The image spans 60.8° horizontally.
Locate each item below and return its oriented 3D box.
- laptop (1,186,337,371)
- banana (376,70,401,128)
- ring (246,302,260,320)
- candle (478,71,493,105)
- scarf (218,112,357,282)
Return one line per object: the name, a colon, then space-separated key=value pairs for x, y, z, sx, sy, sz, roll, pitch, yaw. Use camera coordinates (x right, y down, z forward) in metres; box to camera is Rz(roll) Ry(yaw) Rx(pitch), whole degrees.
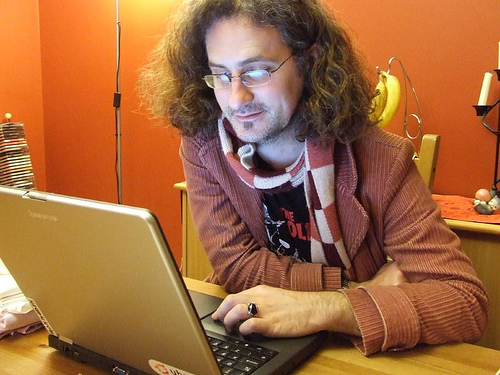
laptop: x=-0.189 y=0.133 z=0.841 sx=0.405 sy=0.312 sz=0.445 roll=6 pitch=9 yaw=40
banana: x=0.658 y=-0.411 z=1.991 sx=0.078 sy=0.303 sz=0.232 roll=7 pitch=17 yaw=21
ring: x=0.013 y=0.285 z=0.971 sx=0.023 sy=0.035 sz=0.013 roll=5 pitch=-19 yaw=-7
candle: x=1.134 y=-0.477 z=2.058 sx=0.043 sy=0.151 sz=0.126 roll=4 pitch=17 yaw=30
scarf: x=0.109 y=0.026 z=1.366 sx=0.455 sy=0.535 sz=0.129 roll=1 pitch=15 yaw=22
